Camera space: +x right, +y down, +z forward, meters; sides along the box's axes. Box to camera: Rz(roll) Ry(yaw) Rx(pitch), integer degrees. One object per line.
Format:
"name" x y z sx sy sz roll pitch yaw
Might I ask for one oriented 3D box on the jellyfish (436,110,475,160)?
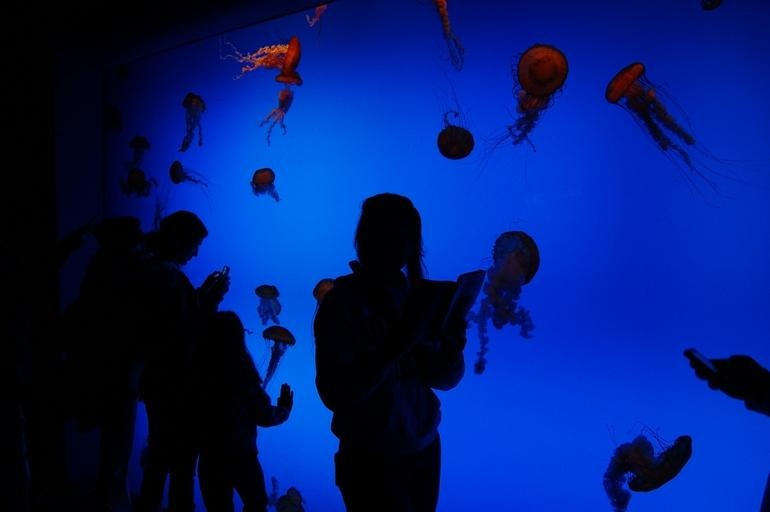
"jellyfish" 0.490 -0.831 5.369 0.262 0.373 0.271 1 0 -14

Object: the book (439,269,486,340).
"book" 0.523 0.310 5.216 0.248 0.440 0.245 6 13 15

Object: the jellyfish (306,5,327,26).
"jellyfish" -0.482 -1.666 5.369 0.101 0.152 0.037 36 9 -1

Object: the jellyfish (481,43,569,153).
"jellyfish" 1.022 -1.079 5.249 0.451 0.665 0.401 4 13 14

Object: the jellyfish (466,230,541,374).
"jellyfish" 0.776 0.291 5.392 0.420 0.980 0.459 -2 12 -11

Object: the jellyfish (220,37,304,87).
"jellyfish" -0.845 -1.341 5.381 0.477 0.292 0.238 -2 4 -1
